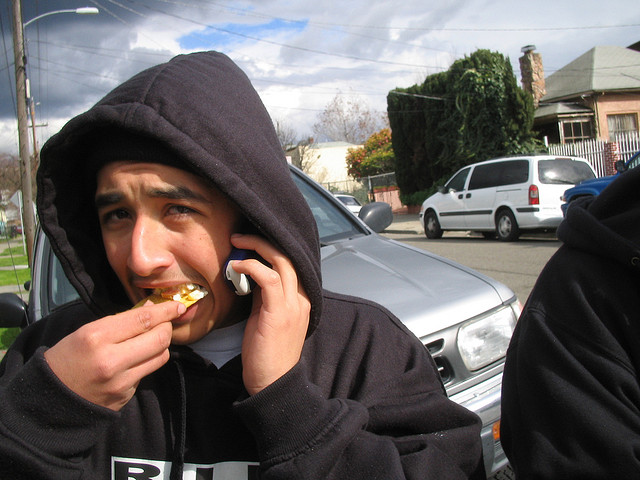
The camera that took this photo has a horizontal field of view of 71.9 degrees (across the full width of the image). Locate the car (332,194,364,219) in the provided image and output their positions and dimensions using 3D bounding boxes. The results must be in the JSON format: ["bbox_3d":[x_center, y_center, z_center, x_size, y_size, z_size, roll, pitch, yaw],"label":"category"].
[{"bbox_3d":[1.144,-1.318,16.443,0.795,0.721,1.854,1,5,-8],"label":"car"}]

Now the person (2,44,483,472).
[{"bbox_3d":[-0.350,0.058,1.443,1.433,1.440,0.713,-3,6,9],"label":"person"}]

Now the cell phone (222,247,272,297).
[{"bbox_3d":[-0.252,0.091,1.497,0.152,0.142,0.240,-5,7,-7],"label":"cell phone"}]

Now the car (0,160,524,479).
[{"bbox_3d":[-0.503,0.418,3.226,3.312,1.775,1.921,-1,5,41],"label":"car"}]

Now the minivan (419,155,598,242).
[{"bbox_3d":[5.227,-1.219,13.279,2.331,2.344,5.116,-2,4,-18],"label":"minivan"}]
